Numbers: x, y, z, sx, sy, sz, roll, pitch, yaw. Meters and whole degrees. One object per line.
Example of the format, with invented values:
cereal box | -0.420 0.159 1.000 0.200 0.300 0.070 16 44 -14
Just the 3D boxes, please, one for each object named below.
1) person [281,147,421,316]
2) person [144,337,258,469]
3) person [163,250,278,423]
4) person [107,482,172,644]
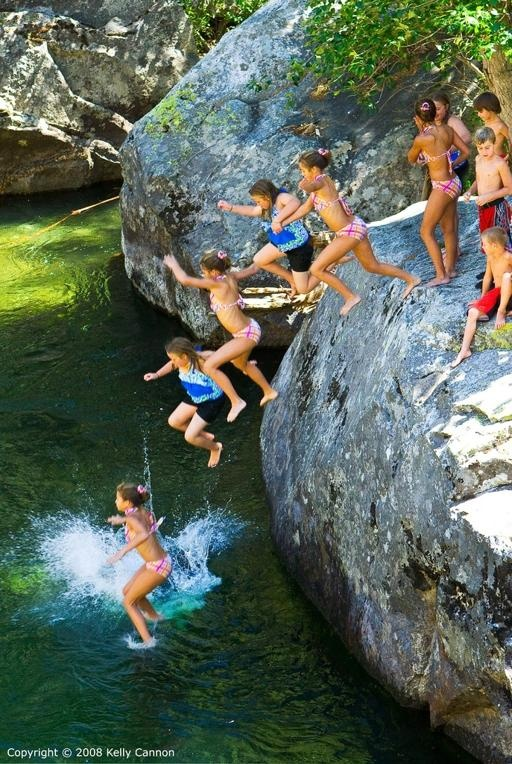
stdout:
person | 0.678 -0.972 4.813 0.724 1.137 0.485 3 16 21
person | -0.501 0.264 6.630 0.863 1.455 0.593 -21 38 -19
person | -0.220 -0.309 5.218 0.789 1.265 0.300 -14 19 -36
person | -0.818 1.132 5.081 0.375 0.997 1.092 -6 14 -10
